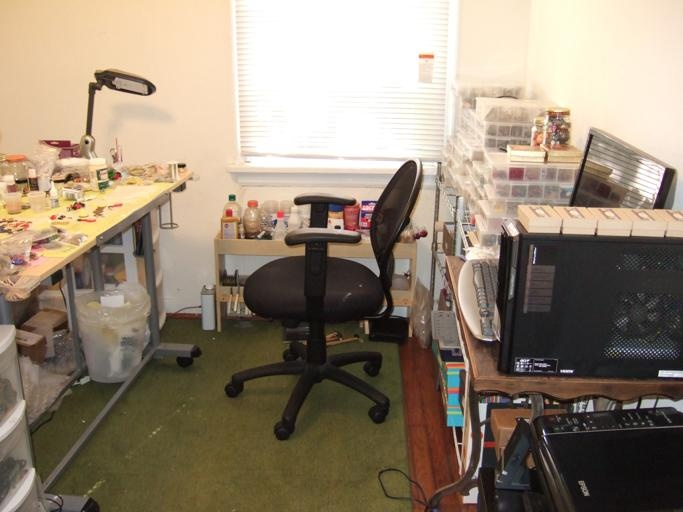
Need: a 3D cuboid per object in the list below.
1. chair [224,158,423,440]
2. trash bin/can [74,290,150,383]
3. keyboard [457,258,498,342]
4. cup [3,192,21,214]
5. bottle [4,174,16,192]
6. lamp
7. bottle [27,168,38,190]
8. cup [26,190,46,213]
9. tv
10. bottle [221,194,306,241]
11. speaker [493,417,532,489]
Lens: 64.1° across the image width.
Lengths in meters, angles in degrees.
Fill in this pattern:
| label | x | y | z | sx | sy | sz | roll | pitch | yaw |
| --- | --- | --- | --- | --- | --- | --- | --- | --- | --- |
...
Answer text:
| label | x | y | z | sx | sy | sz | roll | pitch | yaw |
| --- | --- | --- | --- | --- | --- | --- | --- | --- | --- |
| chair | -0.083 | 0.157 | 2.718 | 0.866 | 1.196 | 0.879 | 9 | 17 | 26 |
| trash bin/can | -1.117 | 0.393 | 2.979 | 0.416 | 0.490 | 0.459 | 1 | 14 | -6 |
| keyboard | 0.480 | 0.180 | 1.812 | 0.145 | 0.450 | 0.030 | -13 | 44 | 1 |
| cup | -1.478 | -0.234 | 2.451 | 0.086 | 0.094 | 0.086 | 2 | 8 | 0 |
| bottle | -1.555 | -0.335 | 2.548 | 0.056 | 0.082 | 0.149 | -10 | 21 | -31 |
| lamp | -1.317 | -0.830 | 3.150 | 0.416 | 0.457 | 0.542 | -8 | 19 | -24 |
| bottle | -1.492 | -0.364 | 2.625 | 0.045 | 0.107 | 0.107 | -11 | 21 | -31 |
| cup | -1.390 | -0.244 | 2.484 | 0.084 | 0.097 | 0.088 | 4 | 21 | -2 |
| tv | 0.930 | -0.284 | 1.795 | 0.149 | 0.241 | 0.295 | 1 | 21 | -16 |
| bottle | -0.507 | -0.247 | 3.443 | 0.442 | 0.184 | 0.247 | 2 | 19 | -5 |
| speaker | 0.465 | 0.531 | 1.457 | 0.097 | 0.223 | 0.108 | 7 | 19 | 19 |
